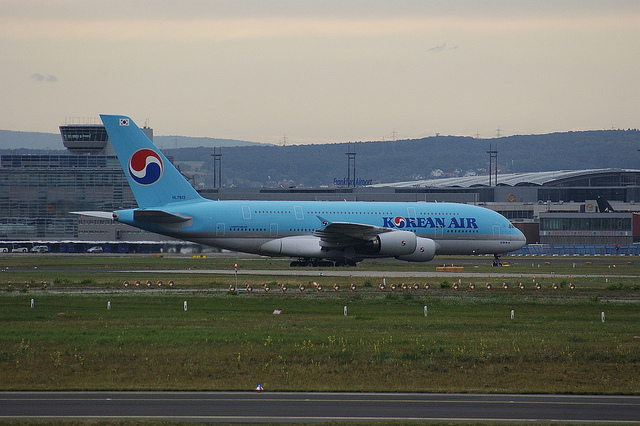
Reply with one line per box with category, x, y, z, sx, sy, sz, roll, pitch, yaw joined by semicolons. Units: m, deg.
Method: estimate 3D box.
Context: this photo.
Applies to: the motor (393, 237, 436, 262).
motor;9.691;3.798;142.374;3.757;2.208;2.450;2;4;2
